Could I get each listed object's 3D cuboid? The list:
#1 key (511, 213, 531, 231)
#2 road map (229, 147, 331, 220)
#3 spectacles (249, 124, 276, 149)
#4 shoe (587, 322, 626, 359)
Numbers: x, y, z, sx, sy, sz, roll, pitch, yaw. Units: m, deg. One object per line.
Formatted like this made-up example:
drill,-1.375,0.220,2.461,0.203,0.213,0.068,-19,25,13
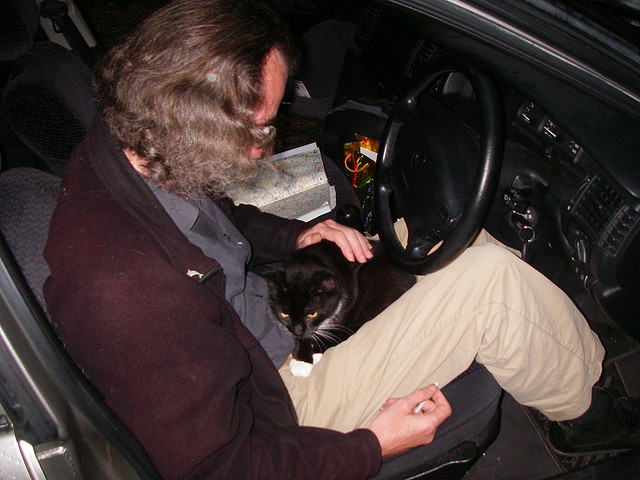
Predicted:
key,0.771,-0.070,2.011,0.024,0.056,0.067,-38,47,-23
road map,-0.146,-0.250,2.494,0.376,0.093,0.372,-18,105,-20
spectacles,-0.183,-0.316,1.603,0.077,0.031,0.058,-44,53,18
shoe,1.244,0.412,2.243,0.077,0.101,0.164,-20,69,-15
